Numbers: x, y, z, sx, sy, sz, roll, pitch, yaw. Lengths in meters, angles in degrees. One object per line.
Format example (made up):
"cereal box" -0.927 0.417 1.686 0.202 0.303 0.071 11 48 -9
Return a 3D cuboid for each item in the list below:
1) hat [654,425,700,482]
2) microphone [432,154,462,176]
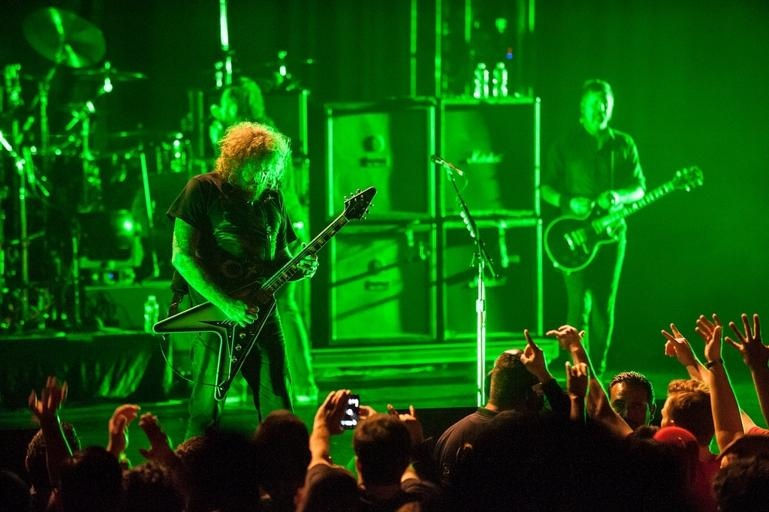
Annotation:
"hat" 1.685 1.152 5.472 0.235 0.324 0.324 5 3 13
"microphone" 0.527 -0.787 7.871 0.319 0.108 0.079 33 4 20
